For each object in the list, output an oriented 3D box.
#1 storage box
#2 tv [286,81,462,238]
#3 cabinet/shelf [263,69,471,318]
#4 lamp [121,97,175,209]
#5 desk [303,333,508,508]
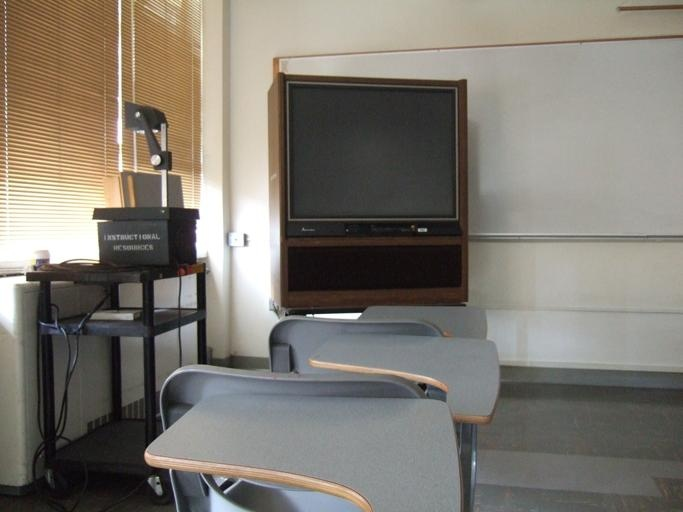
[{"bbox_3d":[-1.062,-0.099,3.136,0.365,0.240,0.380,1,4,12],"label":"storage box"},{"bbox_3d":[0.157,-0.647,3.646,0.951,0.868,0.404,0,0,-4],"label":"tv"},{"bbox_3d":[0.183,-0.402,4.068,1.277,1.553,0.957,0,1,-1],"label":"cabinet/shelf"},{"bbox_3d":[-1.010,-0.551,3.094,0.344,0.556,0.221,12,15,42],"label":"lamp"},{"bbox_3d":[0.241,0.543,2.015,0.714,0.566,0.640,1,33,8],"label":"desk"}]
